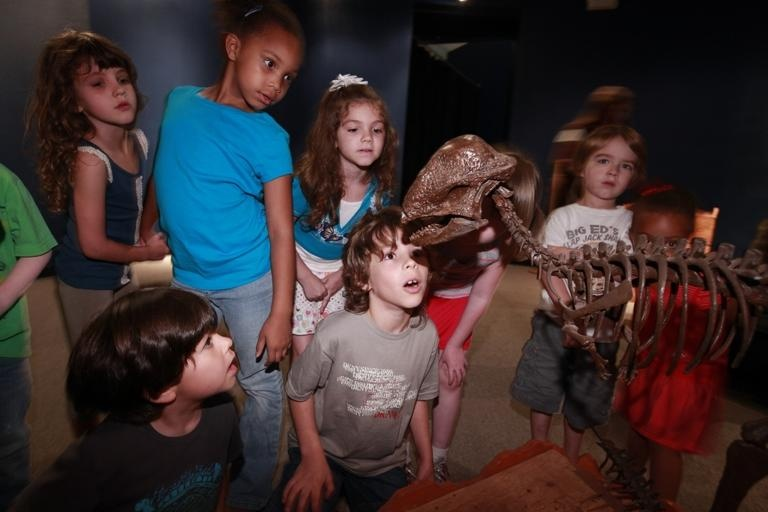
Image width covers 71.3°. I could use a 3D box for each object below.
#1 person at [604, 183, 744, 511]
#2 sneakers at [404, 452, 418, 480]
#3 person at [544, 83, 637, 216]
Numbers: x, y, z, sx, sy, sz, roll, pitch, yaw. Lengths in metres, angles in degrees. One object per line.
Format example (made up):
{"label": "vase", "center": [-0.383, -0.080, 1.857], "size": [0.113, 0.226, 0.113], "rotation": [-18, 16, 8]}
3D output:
{"label": "person", "center": [1.770, 0.552, 3.206], "size": [0.534, 1.791, 0.725], "rotation": [0, 16, -6]}
{"label": "sneakers", "center": [0.165, 1.242, 3.211], "size": [0.080, 0.210, 0.155], "rotation": [2, -3, 8]}
{"label": "person", "center": [1.433, -0.732, 3.699], "size": [0.482, 0.823, 0.477], "rotation": [19, 24, 37]}
